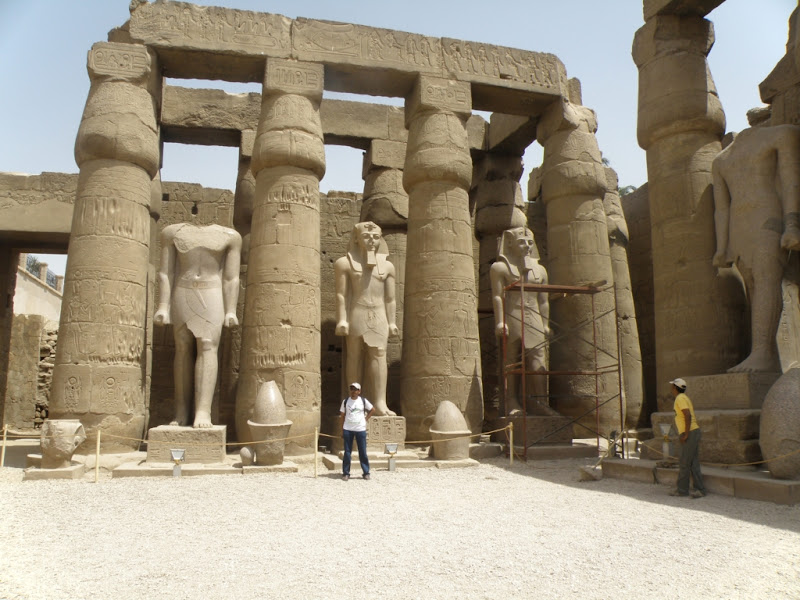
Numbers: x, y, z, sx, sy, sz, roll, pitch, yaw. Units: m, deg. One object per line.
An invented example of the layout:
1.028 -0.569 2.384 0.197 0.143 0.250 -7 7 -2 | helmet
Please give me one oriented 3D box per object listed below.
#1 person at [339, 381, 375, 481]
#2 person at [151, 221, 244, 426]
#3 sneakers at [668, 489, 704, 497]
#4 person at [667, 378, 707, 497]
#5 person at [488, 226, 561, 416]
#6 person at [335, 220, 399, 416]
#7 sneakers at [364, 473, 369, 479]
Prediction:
-0.672 1.946 13.328 0.443 1.392 0.997 0 -12 -3 | person
-3.313 0.401 14.377 1.286 3.271 0.623 3 -13 -14 | person
3.773 2.536 11.780 0.423 0.174 0.141 -2 -8 3 | sneakers
3.806 1.808 11.898 0.387 1.573 0.502 -4 -13 17 | person
2.205 0.353 16.375 0.976 3.451 1.510 -5 -13 22 | person
-0.620 0.345 15.583 1.072 3.315 0.822 0 -12 -1 | person
-0.502 2.552 12.985 0.098 0.081 0.194 1 -12 -5 | sneakers
